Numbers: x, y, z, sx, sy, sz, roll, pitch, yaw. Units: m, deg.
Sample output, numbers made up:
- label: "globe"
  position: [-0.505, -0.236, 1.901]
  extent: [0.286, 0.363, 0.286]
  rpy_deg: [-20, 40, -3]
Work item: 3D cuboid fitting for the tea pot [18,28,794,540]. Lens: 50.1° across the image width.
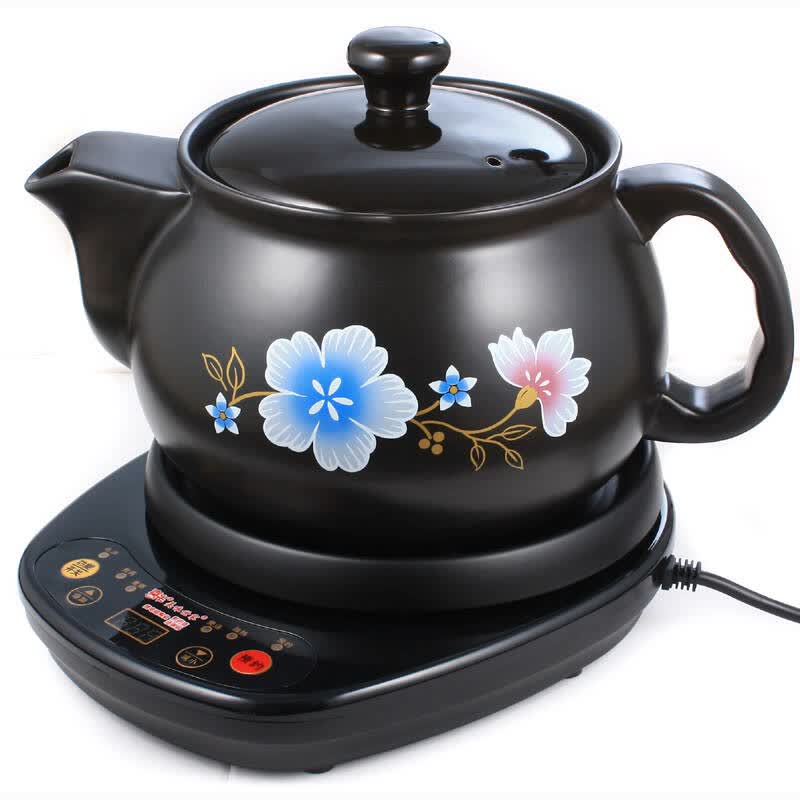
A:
- label: "tea pot"
  position: [0.018, -0.098, 0.604]
  extent: [0.409, 0.311, 0.335]
  rpy_deg: [12, 26, 37]
